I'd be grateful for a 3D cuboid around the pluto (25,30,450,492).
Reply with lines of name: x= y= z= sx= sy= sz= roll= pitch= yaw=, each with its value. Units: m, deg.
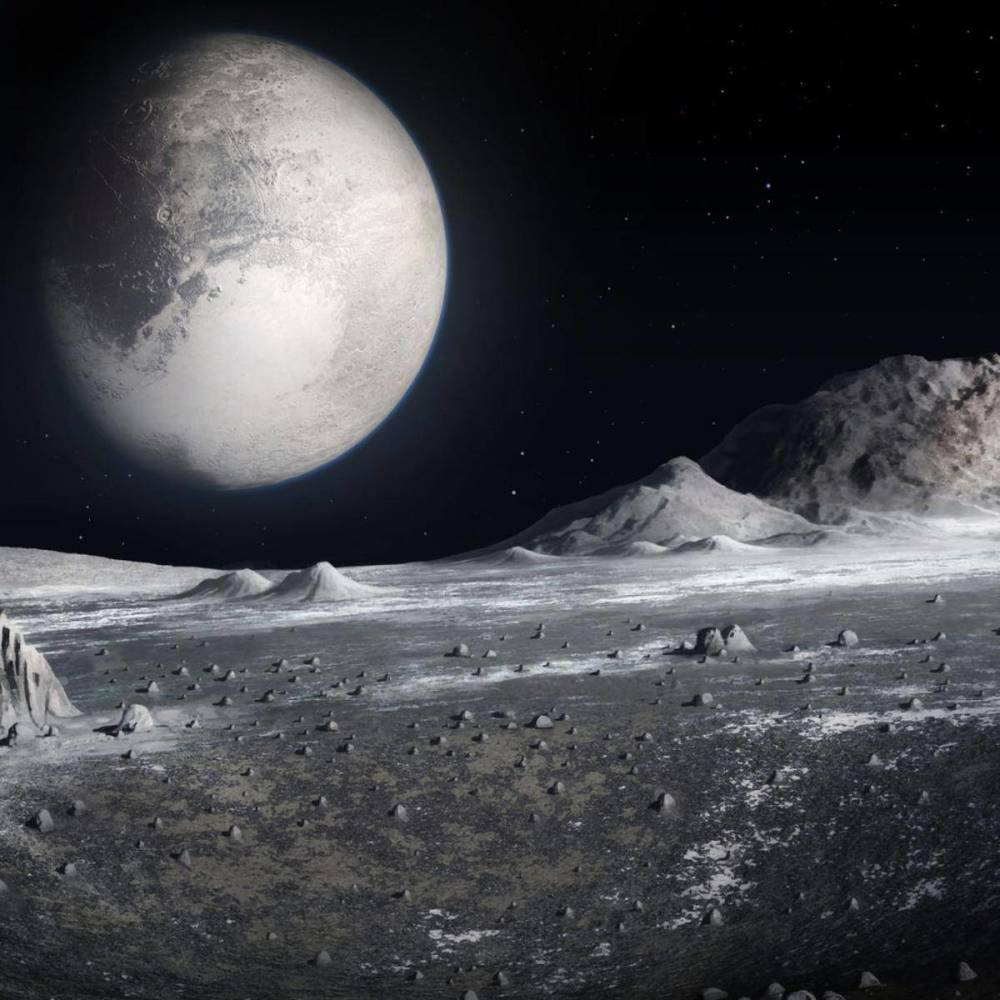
pluto: x=-4.286 y=-3.655 z=19.225 sx=6.379 sy=7.266 sz=6.217 roll=-3 pitch=4 yaw=-19
